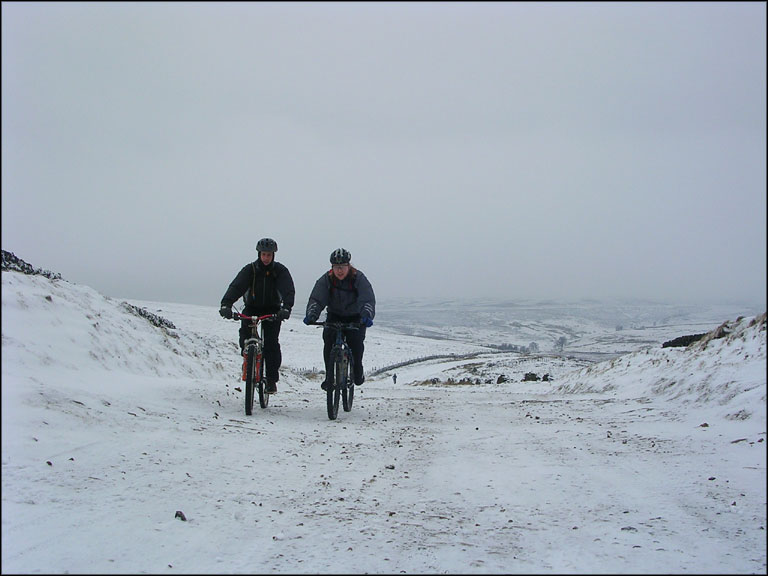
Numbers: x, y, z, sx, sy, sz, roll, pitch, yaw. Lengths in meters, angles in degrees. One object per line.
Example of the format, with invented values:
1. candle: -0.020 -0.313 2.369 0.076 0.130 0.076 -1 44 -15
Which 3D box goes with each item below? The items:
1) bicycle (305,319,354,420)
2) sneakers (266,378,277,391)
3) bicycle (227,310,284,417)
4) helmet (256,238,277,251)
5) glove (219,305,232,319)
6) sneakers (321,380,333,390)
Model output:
1. bicycle: -0.754 1.346 11.801 0.471 1.716 1.347 2 3 11
2. sneakers: -1.902 1.630 11.965 0.177 0.309 0.190 3 -8 -13
3. bicycle: -2.083 1.232 11.542 0.638 1.701 1.304 1 3 3
4. helmet: -1.882 -0.683 11.386 0.258 0.195 0.230 0 3 -19
5. glove: -2.481 0.371 11.085 0.148 0.101 0.213 4 -10 7
6. sneakers: -0.932 1.553 11.383 0.129 0.220 0.226 0 -11 12
